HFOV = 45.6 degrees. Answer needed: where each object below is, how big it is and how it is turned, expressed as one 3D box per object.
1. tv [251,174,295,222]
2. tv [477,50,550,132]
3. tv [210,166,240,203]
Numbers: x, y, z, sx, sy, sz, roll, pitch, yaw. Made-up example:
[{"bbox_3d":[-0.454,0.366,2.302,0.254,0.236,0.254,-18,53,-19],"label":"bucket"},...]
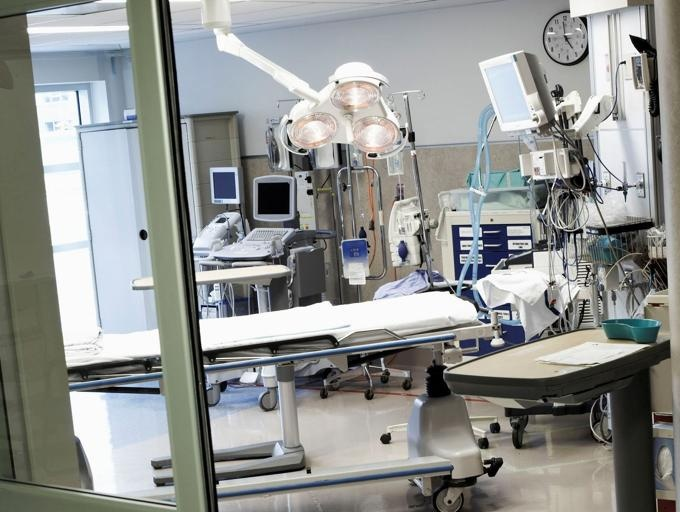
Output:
[{"bbox_3d":[-0.551,-0.490,6.925,0.426,0.501,0.081,1,-1,21],"label":"tv"},{"bbox_3d":[1.198,-1.078,5.237,0.336,0.542,0.397,-26,15,-23],"label":"tv"},{"bbox_3d":[-1.051,-0.648,7.538,0.261,0.321,0.113,-1,1,-1],"label":"tv"}]
